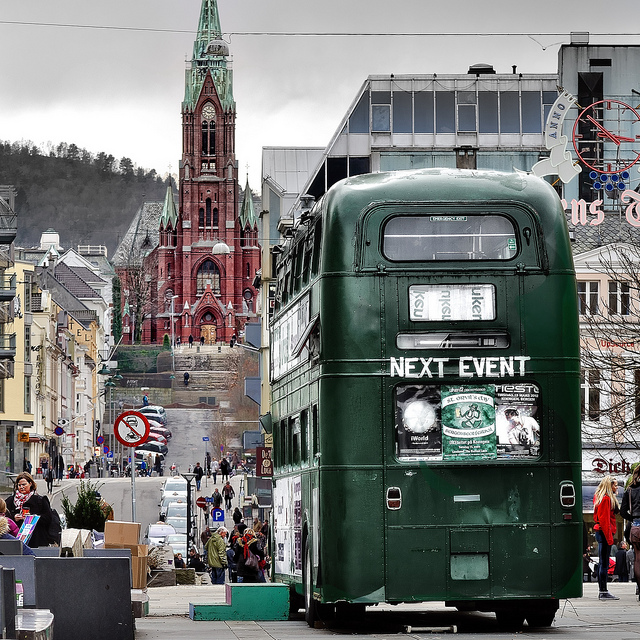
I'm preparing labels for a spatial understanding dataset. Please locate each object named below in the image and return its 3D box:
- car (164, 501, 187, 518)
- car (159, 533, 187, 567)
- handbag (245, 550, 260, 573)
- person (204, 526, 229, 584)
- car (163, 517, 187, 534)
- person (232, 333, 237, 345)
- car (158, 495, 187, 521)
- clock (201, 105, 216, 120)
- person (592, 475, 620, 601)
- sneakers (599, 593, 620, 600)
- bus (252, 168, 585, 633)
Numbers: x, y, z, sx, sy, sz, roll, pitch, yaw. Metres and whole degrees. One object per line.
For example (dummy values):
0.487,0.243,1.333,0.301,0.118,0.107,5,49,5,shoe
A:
-5.202,6.724,63.122,0.851,0.890,1.624,1,-12,-8,car
-3.959,6.454,47.717,1.044,1.066,2.005,0,-6,-7,car
-1.124,3.958,28.585,0.312,0.336,0.118,11,-18,-26,handbag
-2.011,4.641,33.952,0.505,1.184,0.338,6,10,42,person
-4.993,7.043,60.303,0.904,0.855,1.635,1,-10,-10,car
-6.664,1.479,135.234,0.210,0.813,0.412,3,0,33,person
-5.333,6.843,63.323,1.174,1.300,2.572,1,-10,-5,car
-11.535,-21.341,180.121,1.342,1.839,0.139,-1,-2,-3,clock
4.118,3.127,25.065,0.359,1.755,1.014,-2,-8,8,person
4.141,3.939,24.900,0.294,0.144,0.105,0,2,2,sneakers
0.818,1.318,24.777,2.966,5.650,10.086,-1,-6,-8,bus
